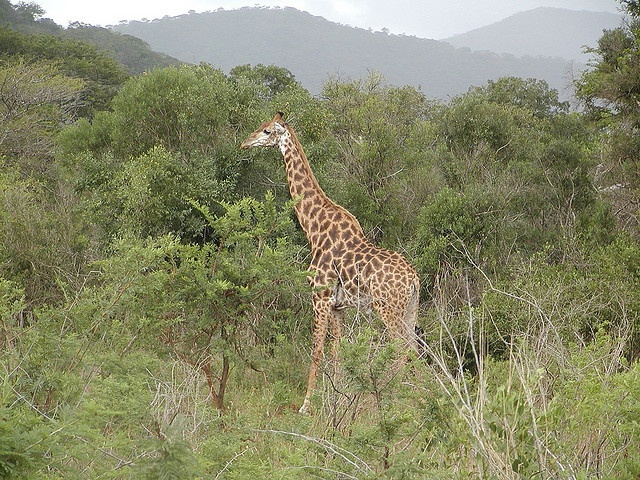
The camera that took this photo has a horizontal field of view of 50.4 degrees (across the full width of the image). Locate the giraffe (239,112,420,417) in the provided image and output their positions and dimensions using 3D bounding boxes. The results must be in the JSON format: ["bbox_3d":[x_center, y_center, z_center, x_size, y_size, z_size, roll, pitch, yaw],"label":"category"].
[{"bbox_3d":[0.324,0.221,11.506,3.387,3.784,1.630,12,5,36],"label":"giraffe"}]
